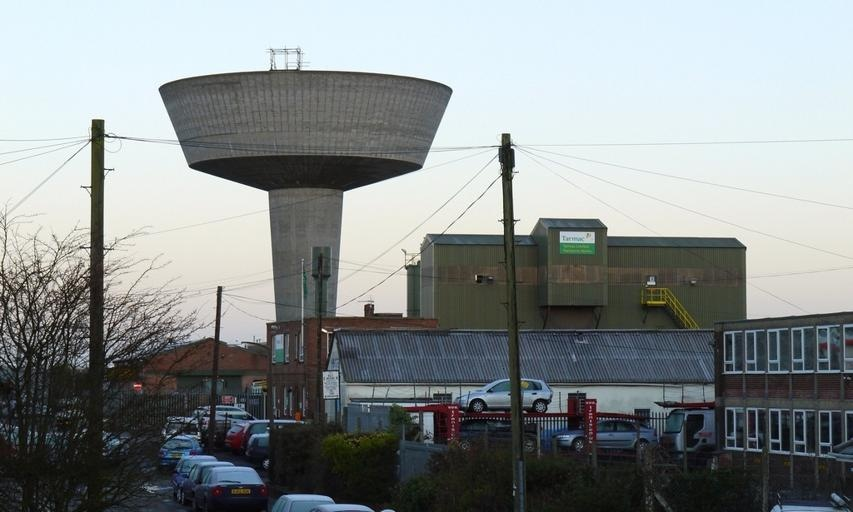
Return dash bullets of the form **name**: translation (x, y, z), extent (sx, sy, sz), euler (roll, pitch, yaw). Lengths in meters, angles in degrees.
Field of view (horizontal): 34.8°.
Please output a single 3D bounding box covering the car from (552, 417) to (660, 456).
- **car**: translation (8.233, 7.923, 60.921), extent (2.681, 1.540, 5.687), euler (-7, -12, 35)
